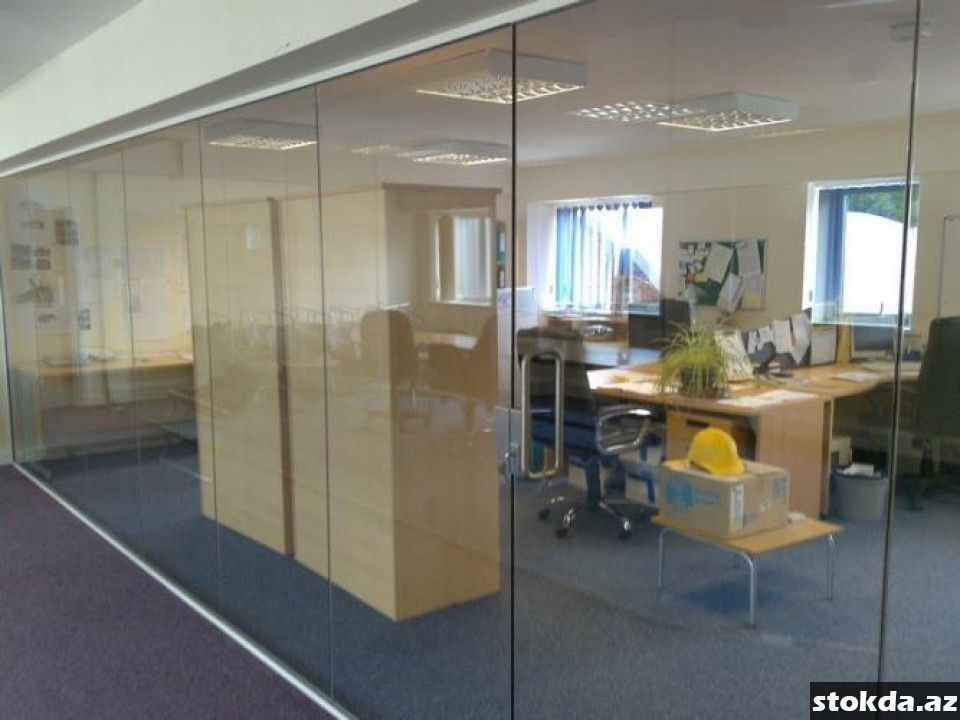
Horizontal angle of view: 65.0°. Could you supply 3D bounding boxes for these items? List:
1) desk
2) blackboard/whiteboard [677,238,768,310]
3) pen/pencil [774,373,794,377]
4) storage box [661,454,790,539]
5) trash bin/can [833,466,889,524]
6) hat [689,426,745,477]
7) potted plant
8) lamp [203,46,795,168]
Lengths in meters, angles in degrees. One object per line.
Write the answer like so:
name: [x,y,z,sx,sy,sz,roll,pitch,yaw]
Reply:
desk: [0.658,0.445,1.861,0.294,0.178,0.311,-3,3,-31]
blackboard/whiteboard: [0.595,-0.209,1.856,0.215,0.168,0.039,6,14,37]
pen/pencil: [0.716,0.035,1.783,0.038,0.015,0.002,5,13,34]
storage box: [0.629,0.316,1.929,0.210,0.134,0.219,-2,3,-33]
trash bin/can: [0.852,0.295,1.715,0.123,0.099,0.115,1,-1,-35]
hat: [0.602,0.228,1.945,0.092,0.085,0.129,-10,18,-38]
potted plant: [0.549,0.001,1.926,0.163,0.182,0.174,-3,5,-42]
lamp: [-0.115,-0.780,2.407,2.187,0.336,0.091,7,15,42]
